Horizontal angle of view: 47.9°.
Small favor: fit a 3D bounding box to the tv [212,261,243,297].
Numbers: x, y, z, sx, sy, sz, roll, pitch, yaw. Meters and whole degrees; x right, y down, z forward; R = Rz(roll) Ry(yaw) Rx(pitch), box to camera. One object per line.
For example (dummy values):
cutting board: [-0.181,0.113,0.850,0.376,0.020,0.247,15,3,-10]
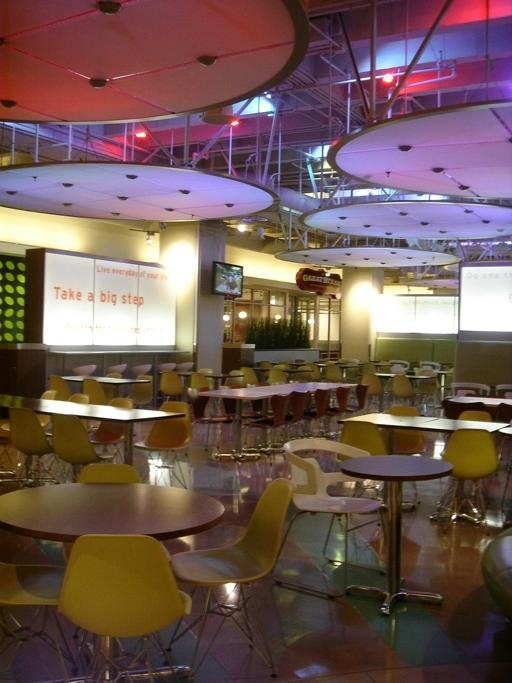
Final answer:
tv: [-0.744,-1.548,14.385,0.128,0.690,1.088,-1,0,29]
